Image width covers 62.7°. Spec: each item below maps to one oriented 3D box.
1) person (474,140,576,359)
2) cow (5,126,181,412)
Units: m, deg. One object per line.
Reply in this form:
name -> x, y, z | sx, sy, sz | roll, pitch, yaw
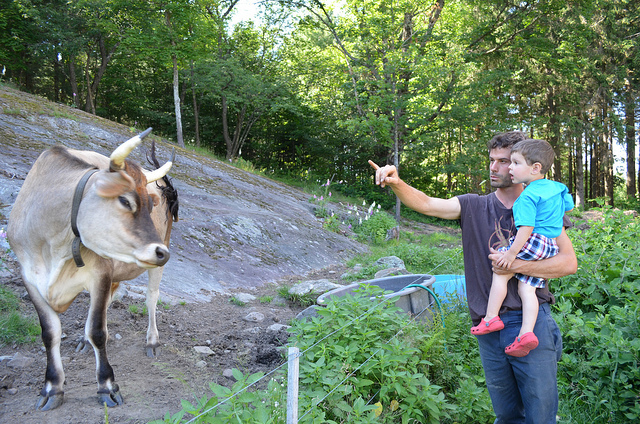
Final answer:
person -> 2.729, 0.462, 6.982 | 0.935, 2.716, 1.200 | 8, 16, 29
cow -> -3.193, 0.618, 7.647 | 2.214, 3.676, 2.271 | -9, 16, -30
